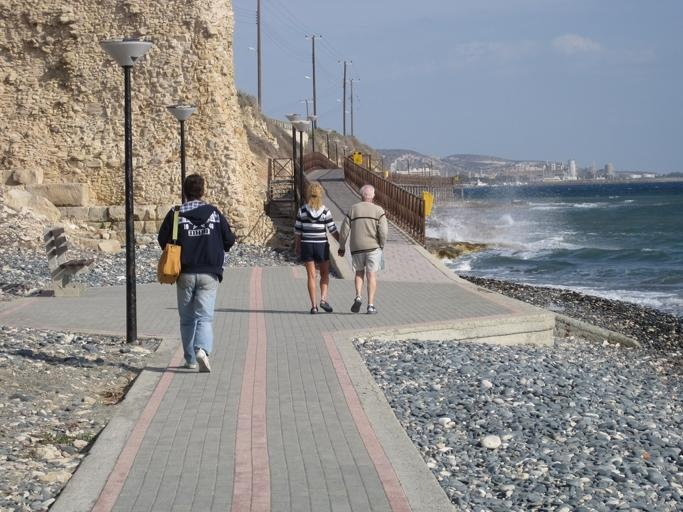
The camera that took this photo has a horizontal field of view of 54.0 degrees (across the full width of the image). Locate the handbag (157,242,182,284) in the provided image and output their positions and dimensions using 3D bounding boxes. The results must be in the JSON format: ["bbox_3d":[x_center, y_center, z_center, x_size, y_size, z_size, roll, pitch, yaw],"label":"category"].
[{"bbox_3d":[-1.885,0.082,7.304,0.246,0.438,0.204,6,4,-15],"label":"handbag"}]

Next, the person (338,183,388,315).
[{"bbox_3d":[0.309,-0.117,10.615,0.743,2.026,0.472,7,4,10],"label":"person"}]

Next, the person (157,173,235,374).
[{"bbox_3d":[-1.647,0.196,7.472,0.773,2.207,0.394,6,4,-6],"label":"person"}]

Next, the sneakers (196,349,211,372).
[{"bbox_3d":[-1.541,1.172,7.469,0.111,0.308,0.134,-4,41,5],"label":"sneakers"}]

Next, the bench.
[{"bbox_3d":[-5.696,0.161,13.867,0.928,1.417,1.393,-2,4,-12],"label":"bench"}]
